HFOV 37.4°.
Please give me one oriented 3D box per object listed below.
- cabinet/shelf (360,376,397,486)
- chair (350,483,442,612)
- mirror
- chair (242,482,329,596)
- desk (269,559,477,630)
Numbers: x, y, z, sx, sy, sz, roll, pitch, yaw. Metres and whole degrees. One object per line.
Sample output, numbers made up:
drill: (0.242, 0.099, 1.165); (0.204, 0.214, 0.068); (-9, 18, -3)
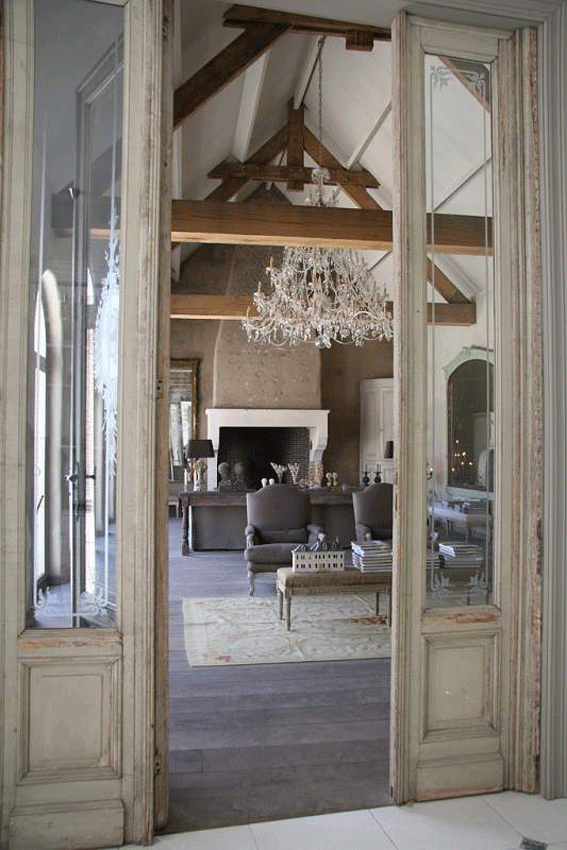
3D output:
cabinet/shelf: (1.456, 0.107, 12.419); (0.610, 1.865, 0.316); (3, 27, 12)
chair: (0.825, 0.871, 6.810); (0.474, 0.814, 0.563); (-6, -4, 2)
mirror: (0.714, -0.007, 3.236); (0.202, 0.437, 0.039); (1, 0, -25)
chair: (-0.053, 0.849, 6.563); (0.566, 1.020, 0.709); (0, -7, -5)
desk: (0.329, 1.109, 5.377); (0.730, 0.358, 0.535); (1, 0, -1)
